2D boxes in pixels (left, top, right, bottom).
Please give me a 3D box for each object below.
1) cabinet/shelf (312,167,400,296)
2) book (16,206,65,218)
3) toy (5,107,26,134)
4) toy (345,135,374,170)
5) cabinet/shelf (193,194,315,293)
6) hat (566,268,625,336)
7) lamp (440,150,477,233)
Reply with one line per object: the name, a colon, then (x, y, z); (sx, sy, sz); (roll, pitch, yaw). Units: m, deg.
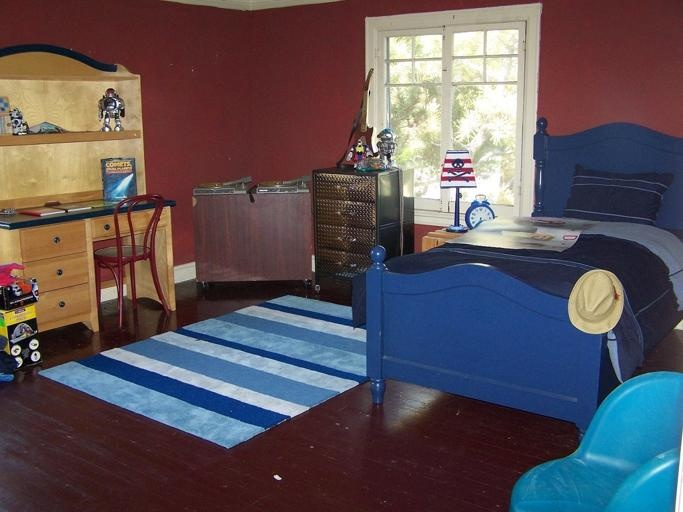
cabinet/shelf: (0.181, -0.247, 5.664); (0.800, 1.327, 0.526); (8, 19, 30)
book: (-2.548, -0.377, 4.512); (0.482, 0.030, 0.299); (12, 19, 40)
toy: (-2.790, -1.164, 4.559); (0.149, 0.225, 0.281); (-9, 17, -28)
toy: (0.200, -1.095, 5.645); (0.388, 0.376, 0.208); (14, 19, 26)
cabinet/shelf: (-0.856, -0.229, 6.037); (1.525, 1.056, 0.888); (-3, -1, 13)
hat: (1.294, 0.228, 2.701); (0.249, 0.268, 0.242); (6, 16, 24)
lamp: (1.128, -0.627, 5.173); (0.449, 0.818, 0.421); (-6, 19, -6)
